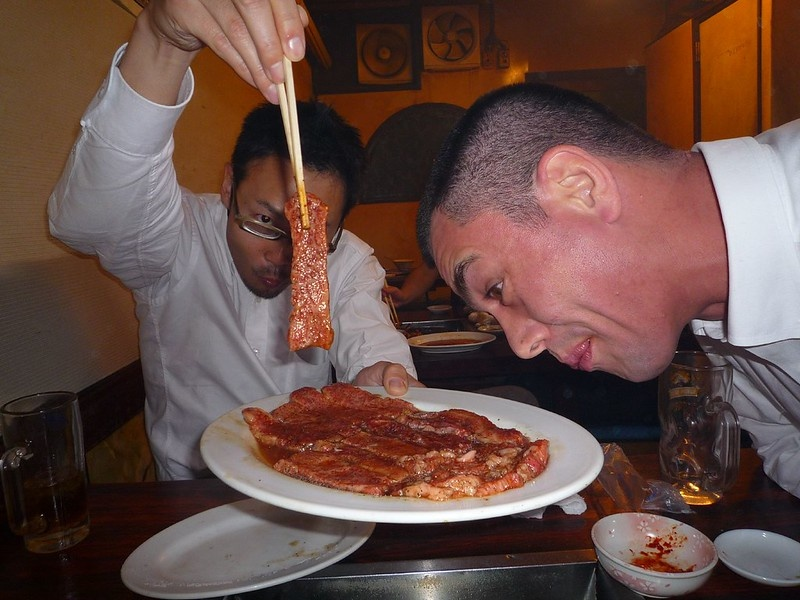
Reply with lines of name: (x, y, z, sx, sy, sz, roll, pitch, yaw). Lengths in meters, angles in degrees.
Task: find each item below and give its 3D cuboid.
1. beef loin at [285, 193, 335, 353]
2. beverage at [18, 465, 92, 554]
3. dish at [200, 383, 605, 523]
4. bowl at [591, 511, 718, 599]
beef loin: (-0.344, -0.103, 2.313, 0.160, 0.558, 0.338, -2, 14, -9)
beverage: (-1.189, 0.717, 2.140, 0.210, 0.246, 0.183, -8, 16, -31)
dish: (-0.017, 0.494, 2.117, 1.309, 0.110, 0.843, -1, 14, -7)
bowl: (0.786, 0.809, 1.957, 0.360, 0.134, 0.289, 7, 15, 24)
